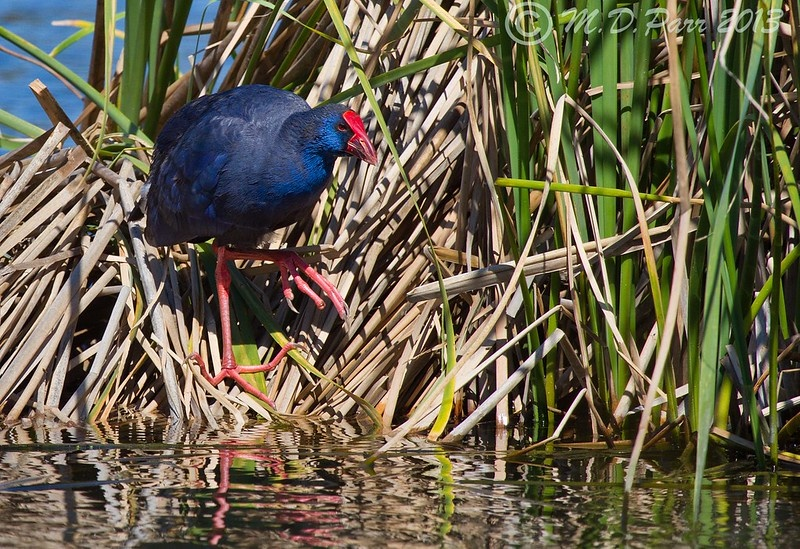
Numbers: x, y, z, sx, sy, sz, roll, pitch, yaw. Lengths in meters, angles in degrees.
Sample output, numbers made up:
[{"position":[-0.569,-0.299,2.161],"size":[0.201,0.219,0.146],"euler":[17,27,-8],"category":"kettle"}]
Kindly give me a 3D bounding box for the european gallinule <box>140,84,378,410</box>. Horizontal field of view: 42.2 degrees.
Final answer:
[{"position":[-0.588,-0.192,4.029],"size":[0.685,1.056,0.878],"euler":[-9,16,-34],"category":"european gallinule"}]
